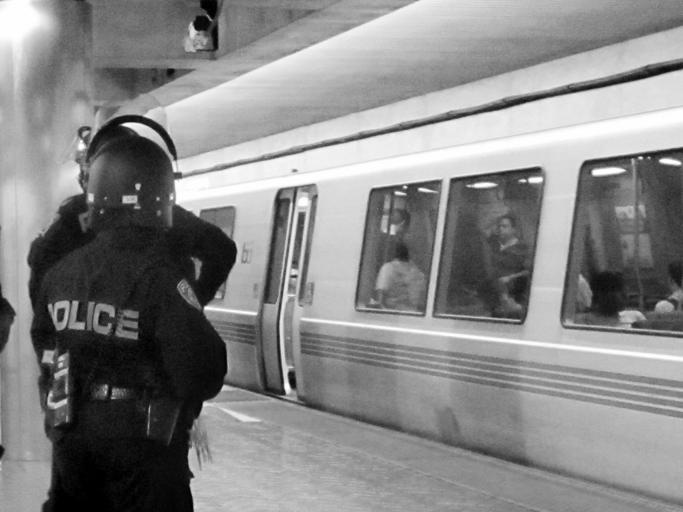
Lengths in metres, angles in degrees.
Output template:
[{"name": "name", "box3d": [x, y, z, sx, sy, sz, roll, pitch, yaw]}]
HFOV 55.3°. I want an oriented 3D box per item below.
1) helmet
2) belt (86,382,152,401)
[{"name": "helmet", "box3d": [-0.565, -0.214, 1.790, 0.206, 0.242, 0.248, 1, 26, -6]}, {"name": "belt", "box3d": [-0.559, 0.341, 1.633, 0.168, 0.032, 0.012, 2, -1, 6]}]
